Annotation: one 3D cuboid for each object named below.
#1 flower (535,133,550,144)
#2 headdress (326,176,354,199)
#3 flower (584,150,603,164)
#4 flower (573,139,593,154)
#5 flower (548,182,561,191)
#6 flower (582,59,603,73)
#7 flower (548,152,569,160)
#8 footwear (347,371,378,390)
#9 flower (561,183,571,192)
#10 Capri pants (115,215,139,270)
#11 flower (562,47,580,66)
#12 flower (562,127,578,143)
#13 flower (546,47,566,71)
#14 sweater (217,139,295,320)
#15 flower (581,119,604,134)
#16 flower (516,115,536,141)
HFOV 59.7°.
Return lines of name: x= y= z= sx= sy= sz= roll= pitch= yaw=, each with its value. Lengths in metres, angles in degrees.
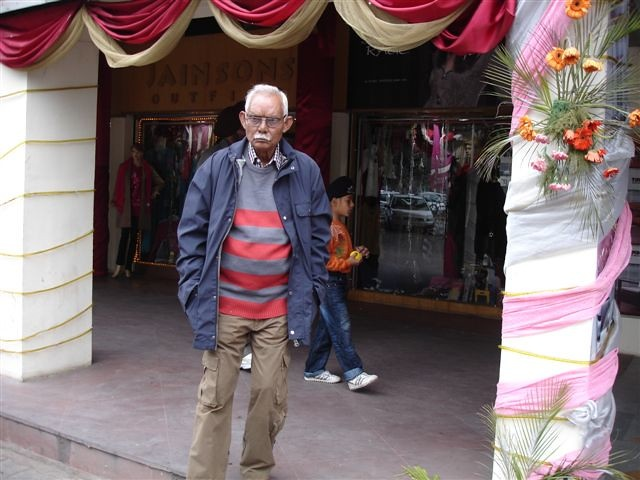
flower: x=1.302 y=-0.572 z=3.269 sx=0.057 sy=0.063 sz=0.057 roll=-5 pitch=-41 yaw=38
headdress: x=0.212 y=-0.555 z=5.920 sx=0.262 sy=0.120 sz=0.189 roll=-6 pitch=0 yaw=41
flower: x=1.587 y=-0.482 z=3.224 sx=0.113 sy=0.072 sz=0.091 roll=2 pitch=5 yaw=2
flower: x=1.514 y=-0.543 z=3.211 sx=0.118 sy=0.078 sz=0.083 roll=3 pitch=5 yaw=13
flower: x=1.383 y=-0.311 z=3.271 sx=0.045 sy=0.029 sz=0.046 roll=2 pitch=-2 yaw=37
flower: x=1.535 y=-0.972 z=3.123 sx=0.077 sy=0.049 sz=0.084 roll=2 pitch=5 yaw=-6
flower: x=1.360 y=-0.470 z=3.173 sx=0.056 sy=0.029 sz=0.060 roll=3 pitch=-3 yaw=-15
footwear: x=0.447 y=1.469 z=5.886 sx=0.337 sy=0.153 sz=0.157 roll=-23 pitch=-5 yaw=37
flower: x=1.476 y=-0.314 z=3.343 sx=0.051 sy=0.044 sz=0.228 roll=4 pitch=6 yaw=24
Capri pants: x=-4.074 y=-0.004 z=11.871 sx=0.399 sy=0.379 sz=1.608 roll=8 pitch=46 yaw=-21
flower: x=1.388 y=-1.007 z=3.099 sx=0.063 sy=0.066 sz=0.111 roll=-5 pitch=45 yaw=-1
flower: x=1.432 y=-0.604 z=3.189 sx=0.023 sy=0.071 sz=0.065 roll=7 pitch=-25 yaw=-39
flower: x=1.338 y=-1.028 z=3.181 sx=0.087 sy=0.139 sz=0.167 roll=2 pitch=5 yaw=-3
sweater: x=-0.457 y=-0.115 z=3.854 sx=0.545 sy=1.342 sz=0.488 roll=1 pitch=40 yaw=-3
flower: x=1.546 y=-0.639 z=3.192 sx=0.093 sy=0.101 sz=0.051 roll=-6 pitch=11 yaw=2
flower: x=1.238 y=-0.661 z=3.330 sx=0.100 sy=0.137 sz=0.181 roll=4 pitch=5 yaw=20
